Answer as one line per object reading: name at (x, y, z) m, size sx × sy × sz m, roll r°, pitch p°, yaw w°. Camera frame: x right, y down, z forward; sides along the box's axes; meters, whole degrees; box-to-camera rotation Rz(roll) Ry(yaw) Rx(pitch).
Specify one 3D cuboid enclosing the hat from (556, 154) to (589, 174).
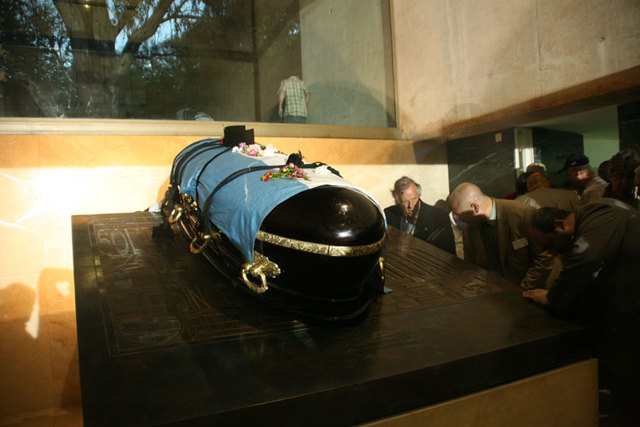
hat at (1.612, -0.305, 3.172) m, size 0.122 × 0.066 × 0.080 m, roll -13°, pitch 17°, yaw 45°
